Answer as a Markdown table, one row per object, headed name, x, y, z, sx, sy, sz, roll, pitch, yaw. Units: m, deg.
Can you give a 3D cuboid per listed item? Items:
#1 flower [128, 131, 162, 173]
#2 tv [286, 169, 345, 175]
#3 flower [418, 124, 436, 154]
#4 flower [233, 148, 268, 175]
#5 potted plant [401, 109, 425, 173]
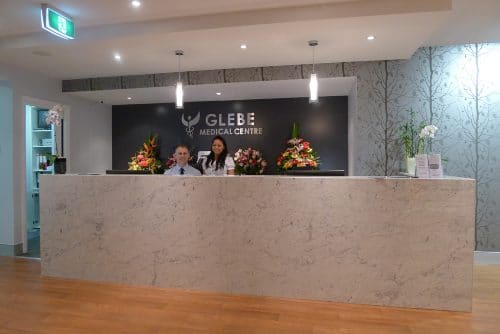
| name | x | y | z | sx | sy | sz | roll | pitch | yaw |
| --- | --- | --- | --- | --- | --- | --- | --- | --- | --- |
| flower | -2.287 | -0.256 | 8.008 | 0.527 | 0.970 | 0.774 | -9 | -11 | 26 |
| tv | 0.852 | 0.082 | 4.807 | 0.721 | 0.068 | 0.159 | 2 | 14 | 9 |
| flower | 2.898 | -0.441 | 6.005 | 0.265 | 0.497 | 0.582 | 7 | 15 | 25 |
| flower | -0.002 | -0.070 | 7.542 | 0.578 | 0.561 | 0.565 | 9 | -6 | -8 |
| potted plant | 2.666 | -0.422 | 6.063 | 0.381 | 1.001 | 0.596 | 6 | 15 | 22 |
